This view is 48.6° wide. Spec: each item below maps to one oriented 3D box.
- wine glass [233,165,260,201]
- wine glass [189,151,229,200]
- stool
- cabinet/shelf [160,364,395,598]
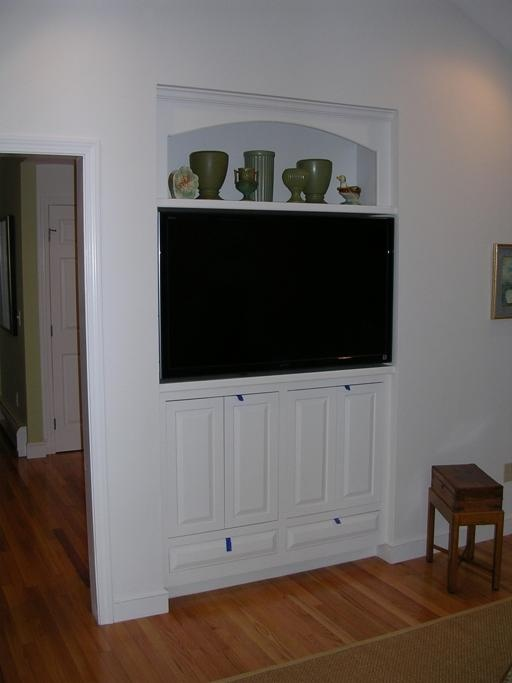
[{"bbox_3d":[-0.045,-0.680,2.492,0.100,0.140,0.206,0,3,-4],"label":"wine glass"},{"bbox_3d":[-0.195,-0.678,2.337,0.152,0.197,0.094,0,2,-11],"label":"wine glass"},{"bbox_3d":[0.987,0.915,2.651,0.314,0.375,0.501,1,3,3],"label":"stool"},{"bbox_3d":[0.058,0.616,2.502,0.809,0.791,0.274,-2,3,-25],"label":"cabinet/shelf"}]
